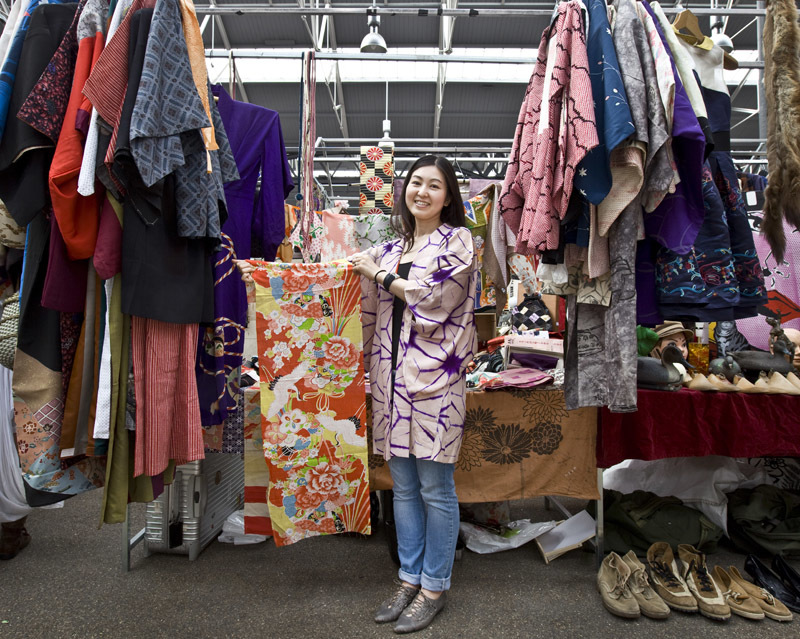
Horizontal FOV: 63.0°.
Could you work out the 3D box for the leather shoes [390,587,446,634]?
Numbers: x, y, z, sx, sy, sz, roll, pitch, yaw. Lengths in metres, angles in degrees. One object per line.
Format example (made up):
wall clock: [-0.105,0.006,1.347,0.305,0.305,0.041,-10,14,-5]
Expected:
leather shoes: [0.076,1.219,2.709,0.089,0.110,0.254,12,18,33]

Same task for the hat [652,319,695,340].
hat: [1.535,0.056,3.689,0.188,0.121,0.320,6,9,34]

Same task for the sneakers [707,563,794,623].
sneakers: [1.554,1.228,2.913,0.268,0.108,0.324,-1,8,-15]

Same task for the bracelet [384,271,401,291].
bracelet: [-0.042,-0.154,2.799,0.049,0.074,0.076,35,45,20]

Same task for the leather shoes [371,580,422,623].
leather shoes: [-0.020,1.205,2.815,0.085,0.103,0.264,6,34,43]

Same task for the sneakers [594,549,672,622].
sneakers: [1.033,1.200,2.966,0.256,0.149,0.353,1,8,1]
